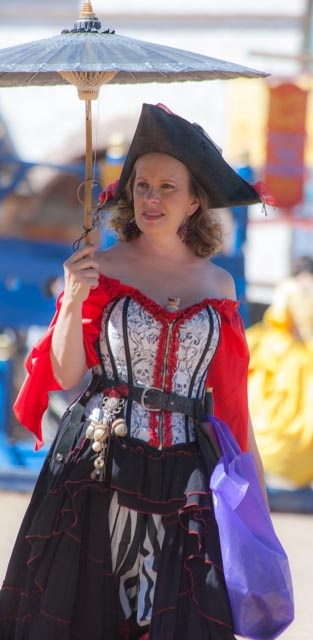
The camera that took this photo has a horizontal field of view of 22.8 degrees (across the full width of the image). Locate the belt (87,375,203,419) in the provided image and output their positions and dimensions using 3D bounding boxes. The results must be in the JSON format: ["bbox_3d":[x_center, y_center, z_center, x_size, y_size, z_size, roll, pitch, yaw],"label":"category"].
[{"bbox_3d":[-0.011,0.237,2.342,0.194,0.050,0.178,16,-6,-21],"label":"belt"}]
